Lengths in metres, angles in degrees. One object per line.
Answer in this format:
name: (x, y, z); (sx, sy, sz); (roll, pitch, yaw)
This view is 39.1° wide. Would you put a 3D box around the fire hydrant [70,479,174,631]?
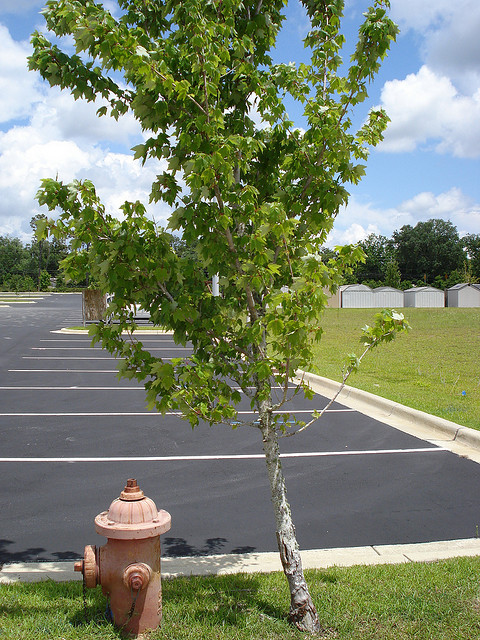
fire hydrant: (-0.784, 1.570, 4.507); (0.606, 0.967, 0.417); (-1, 5, -13)
